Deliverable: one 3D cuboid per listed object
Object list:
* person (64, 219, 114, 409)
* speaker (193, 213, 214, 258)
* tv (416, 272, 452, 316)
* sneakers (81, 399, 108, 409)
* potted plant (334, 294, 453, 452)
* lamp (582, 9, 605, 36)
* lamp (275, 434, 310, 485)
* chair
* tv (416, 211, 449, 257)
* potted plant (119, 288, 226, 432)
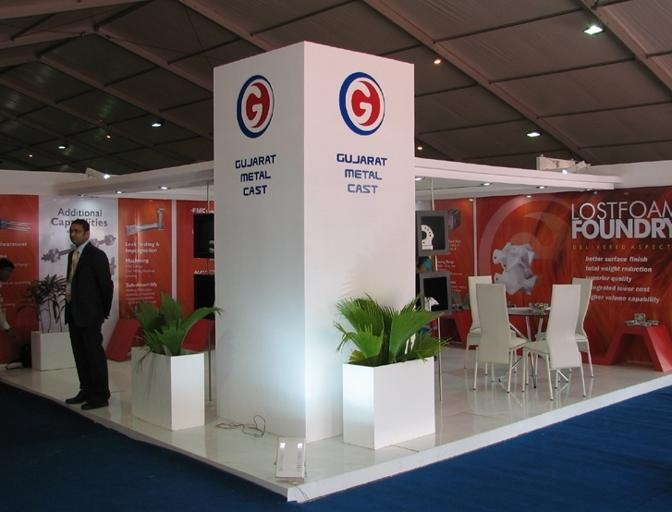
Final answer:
[{"bbox_3d":[-2.698,0.605,5.621,0.649,1.974,0.377,1,2,43],"label":"person"},{"bbox_3d":[-1.576,-0.239,6.241,0.183,0.549,0.430,-1,2,-44],"label":"speaker"},{"bbox_3d":[1.034,0.408,5.573,0.432,0.475,0.137,1,-3,-45],"label":"tv"},{"bbox_3d":[-2.532,1.536,5.456,0.096,0.125,0.266,-2,-10,44],"label":"sneakers"},{"bbox_3d":[0.447,0.988,4.660,0.854,1.214,0.571,-1,2,-32],"label":"potted plant"},{"bbox_3d":[3.792,-3.455,7.652,0.226,0.360,0.187,-11,15,-10],"label":"lamp"},{"bbox_3d":[-0.332,1.493,3.814,0.227,0.234,0.285,0,2,-5],"label":"lamp"},{"bbox_3d":[2.474,1.048,6.924,1.383,2.305,1.219,1,-4,6],"label":"chair"},{"bbox_3d":[1.067,-0.250,5.834,0.444,0.452,0.047,6,-13,-42],"label":"tv"},{"bbox_3d":[-1.578,0.989,5.054,0.944,1.245,0.450,1,2,39],"label":"potted plant"}]
